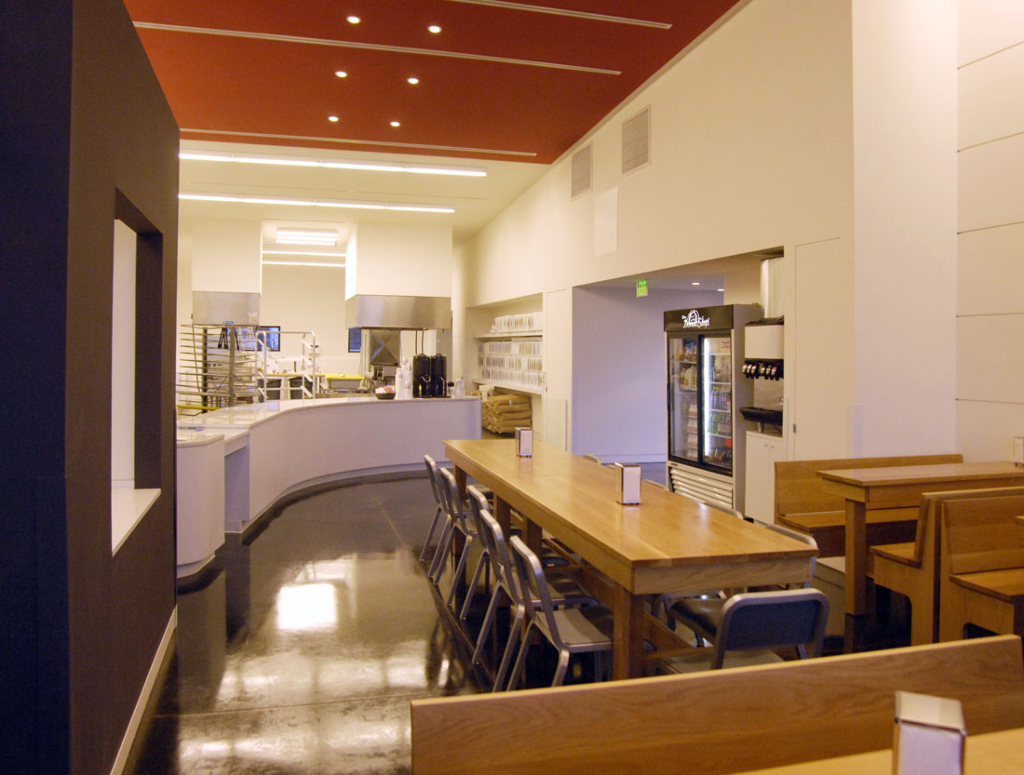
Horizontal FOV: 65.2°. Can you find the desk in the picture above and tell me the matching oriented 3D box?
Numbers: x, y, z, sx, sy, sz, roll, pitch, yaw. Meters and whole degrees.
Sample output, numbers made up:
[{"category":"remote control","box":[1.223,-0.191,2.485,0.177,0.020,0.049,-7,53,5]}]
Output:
[{"category":"desk","box":[0.544,0.930,4.707,0.904,0.968,2.527,-2,6,-20]}]
